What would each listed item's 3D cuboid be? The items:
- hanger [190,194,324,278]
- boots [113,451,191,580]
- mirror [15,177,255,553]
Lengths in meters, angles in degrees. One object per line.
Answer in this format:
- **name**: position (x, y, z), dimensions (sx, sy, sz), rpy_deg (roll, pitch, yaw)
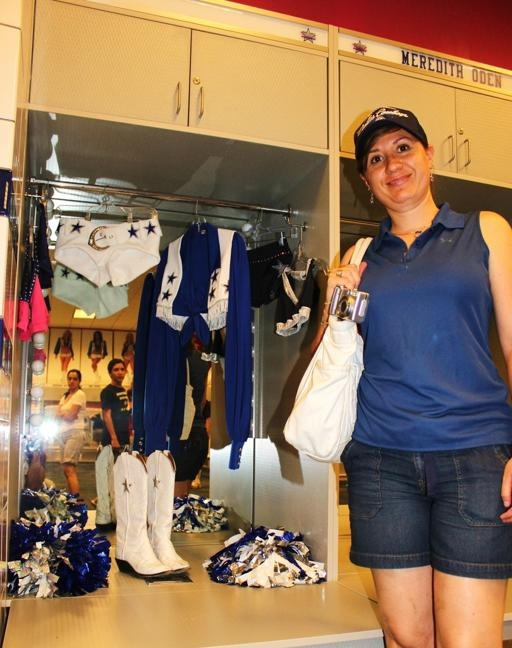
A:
- **hanger**: position (0.010, -0.398, 2.536), dimensions (0.569, 0.141, 0.364), rpy_deg (11, 31, 13)
- **boots**: position (-0.426, 0.754, 2.284), dimensions (0.347, 0.459, 0.214), rpy_deg (-8, -14, 40)
- **mirror**: position (-0.561, 0.185, 2.485), dimensions (1.658, 1.749, 0.173), rpy_deg (0, -5, -8)
